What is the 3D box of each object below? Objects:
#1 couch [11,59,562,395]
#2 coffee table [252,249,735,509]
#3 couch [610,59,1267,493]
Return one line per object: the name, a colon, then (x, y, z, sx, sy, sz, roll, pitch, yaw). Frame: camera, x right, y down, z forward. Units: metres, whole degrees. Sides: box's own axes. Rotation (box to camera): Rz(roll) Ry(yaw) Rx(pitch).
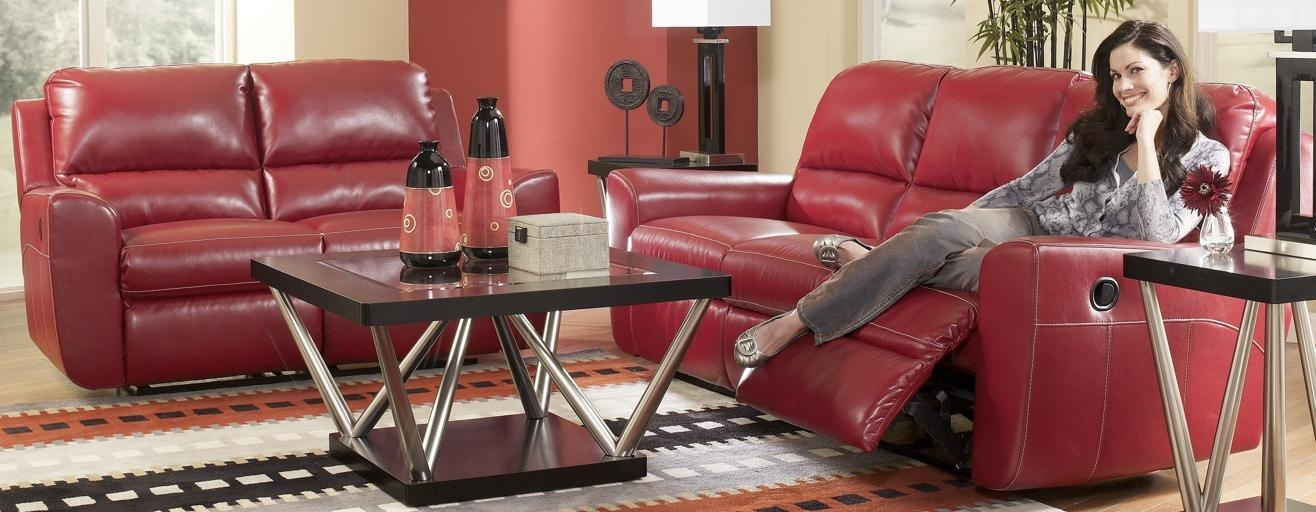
couch: (-2.867, -0.394, 6.177, 3.467, 1.661, 1.562, -8, 42, -43)
coffee table: (-0.977, 0.680, 4.479, 2.648, 0.903, 1.763, -3, 6, -30)
couch: (1.657, -0.194, 5.444, 2.221, 1.543, 3.565, -21, 20, -29)
